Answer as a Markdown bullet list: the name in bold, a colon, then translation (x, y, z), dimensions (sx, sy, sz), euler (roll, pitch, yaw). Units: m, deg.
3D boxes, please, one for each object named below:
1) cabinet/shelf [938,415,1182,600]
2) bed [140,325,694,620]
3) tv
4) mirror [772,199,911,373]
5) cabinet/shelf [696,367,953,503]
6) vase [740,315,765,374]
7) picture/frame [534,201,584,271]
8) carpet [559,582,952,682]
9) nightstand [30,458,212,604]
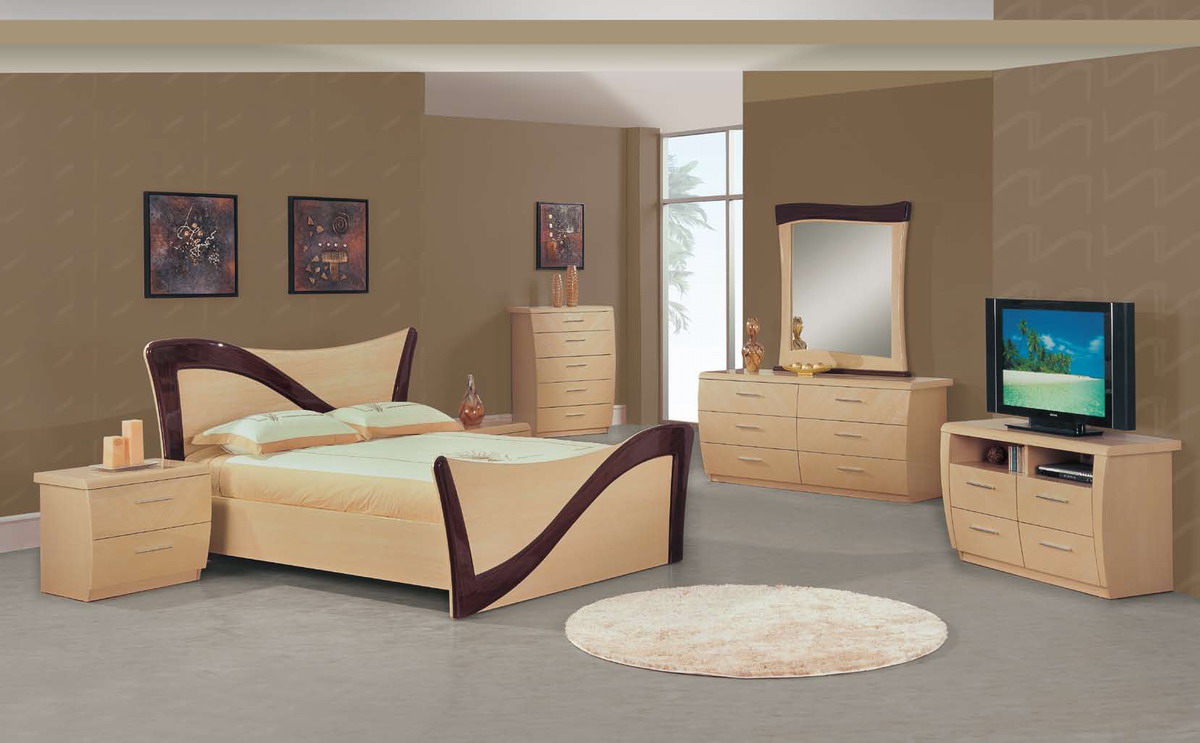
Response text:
- **cabinet/shelf**: translation (2.750, 0.775, 5.416), dimensions (0.884, 0.993, 1.601), euler (1, -1, -28)
- **bed**: translation (-1.107, 0.472, 5.870), dimensions (2.638, 1.253, 2.184), euler (3, 4, 31)
- **tv**: translation (2.633, -0.001, 5.280), dimensions (0.227, 0.763, 1.072), euler (-5, 5, -17)
- **mirror**: translation (2.023, -0.693, 7.532), dimensions (1.562, 1.635, 0.133), euler (3, 7, 35)
- **cabinet/shelf**: translation (1.847, 0.520, 7.618), dimensions (0.776, 0.920, 2.100), euler (-5, 5, -42)
- **vase**: translation (1.333, -0.228, 8.003), dimensions (0.186, 0.451, 0.556), euler (0, 6, 9)
- **picture/frame**: translation (-0.471, -1.457, 9.899), dimensions (0.881, 0.898, 0.125), euler (-2, 2, -37)
- **carpet**: translation (0.733, 1.230, 4.402), dimensions (1.815, 0.035, 1.103), euler (-1, 5, -1)
- **nightstand**: translation (-2.606, 0.786, 5.294), dimensions (0.758, 0.776, 1.047), euler (-1, 0, 37)
